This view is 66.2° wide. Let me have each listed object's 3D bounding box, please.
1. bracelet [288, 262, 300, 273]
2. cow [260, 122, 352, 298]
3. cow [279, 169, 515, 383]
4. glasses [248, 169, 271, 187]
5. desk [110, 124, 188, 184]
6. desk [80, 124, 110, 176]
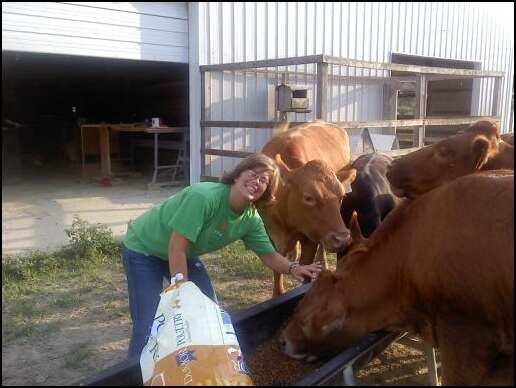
[{"bbox_3d":[0.258,0.507,2.821,0.069,0.025,0.062,-46,-2,-41],"label":"bracelet"},{"bbox_3d":[0.317,0.087,4.109,0.651,1.358,2.415,0,16,-7],"label":"cow"},{"bbox_3d":[0.723,0.416,1.889,0.955,1.062,0.389,14,17,43],"label":"cow"},{"bbox_3d":[0.013,-0.094,2.490,0.096,0.044,0.090,-17,48,5],"label":"glasses"},{"bbox_3d":[-3.468,-1.250,12.519,1.715,0.959,0.978,-16,-5,28],"label":"desk"},{"bbox_3d":[-5.502,-1.590,13.331,0.848,1.259,1.223,3,1,-16],"label":"desk"}]
